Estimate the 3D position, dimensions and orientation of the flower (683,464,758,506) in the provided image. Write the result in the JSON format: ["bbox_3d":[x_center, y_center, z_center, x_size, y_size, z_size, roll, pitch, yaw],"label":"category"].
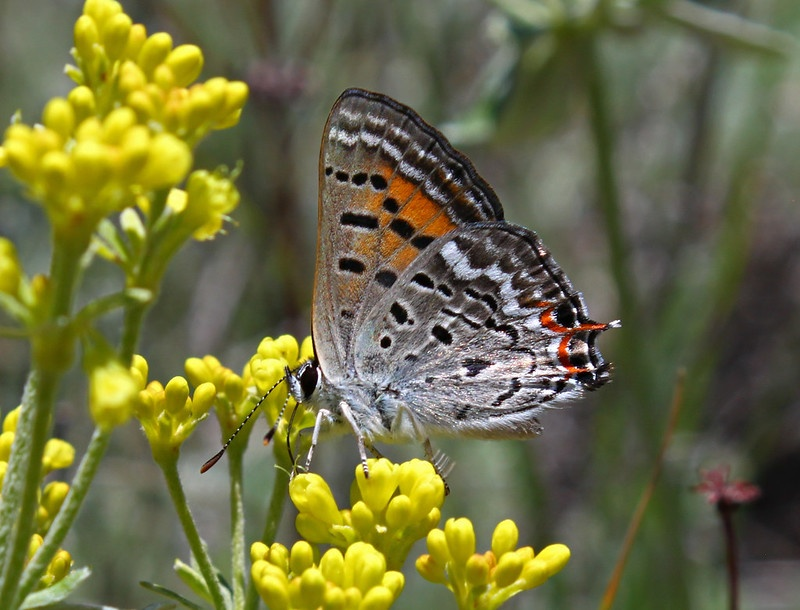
[{"bbox_3d":[0.712,0.386,2.081,0.092,0.031,0.096,-13,11,-16],"label":"flower"}]
